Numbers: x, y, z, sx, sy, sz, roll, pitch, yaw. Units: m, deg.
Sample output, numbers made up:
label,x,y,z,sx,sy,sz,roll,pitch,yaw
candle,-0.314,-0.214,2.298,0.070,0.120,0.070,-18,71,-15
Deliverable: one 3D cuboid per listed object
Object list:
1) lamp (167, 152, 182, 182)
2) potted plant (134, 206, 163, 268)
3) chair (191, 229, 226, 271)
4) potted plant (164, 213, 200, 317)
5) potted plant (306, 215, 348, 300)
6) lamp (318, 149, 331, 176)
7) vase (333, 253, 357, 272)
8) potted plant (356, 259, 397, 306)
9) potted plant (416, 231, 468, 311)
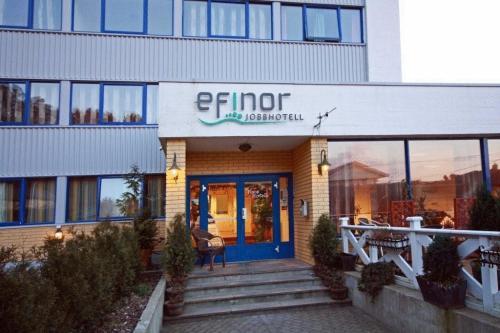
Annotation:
label,x,y,z,sx,sy,sz,roll,pitch,yaw
lamp,-2.267,0.007,11.322,0.362,0.815,0.300,-4,-6,21
potted plant,-3.257,2.224,12.108,0.809,1.938,0.626,1,-6,-30
chair,-1.269,2.535,11.913,0.869,1.197,0.903,-3,-1,-43
potted plant,-1.950,2.579,10.422,0.808,2.582,1.009,-3,-5,12
potted plant,2.249,2.508,10.978,0.696,2.313,1.048,1,-6,-30
lamp,2.292,-0.206,11.620,0.314,0.737,0.421,-2,-4,-33
vase,2.693,2.698,10.853,0.392,0.371,0.504,1,-8,-12
potted plant,3.186,2.876,9.705,0.828,0.704,0.934,3,0,-23
potted plant,4.150,2.300,8.425,0.926,1.520,0.390,-5,-6,28
